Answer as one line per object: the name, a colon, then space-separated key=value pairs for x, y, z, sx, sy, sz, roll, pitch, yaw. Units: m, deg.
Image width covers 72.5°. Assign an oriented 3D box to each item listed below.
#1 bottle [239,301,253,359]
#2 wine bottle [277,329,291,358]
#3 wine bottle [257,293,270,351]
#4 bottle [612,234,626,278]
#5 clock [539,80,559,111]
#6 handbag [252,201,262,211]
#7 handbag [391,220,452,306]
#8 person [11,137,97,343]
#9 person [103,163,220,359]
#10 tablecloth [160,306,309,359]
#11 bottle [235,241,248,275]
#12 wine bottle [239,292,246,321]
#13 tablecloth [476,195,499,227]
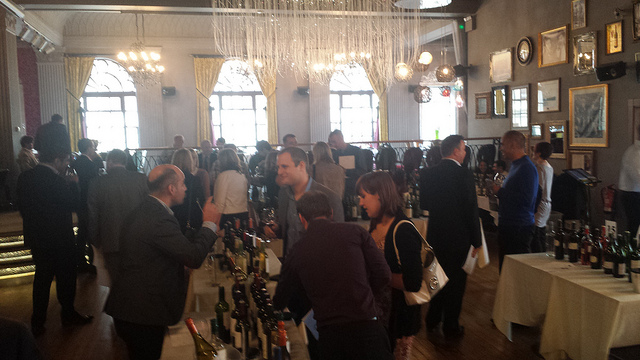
bottle: x=-0.765 y=1.534 z=4.449 sx=0.121 sy=0.558 sz=0.151 roll=-3 pitch=5 yaw=-9
wine bottle: x=-0.367 y=1.624 z=4.355 sx=0.086 sy=0.326 sz=0.153 roll=1 pitch=6 yaw=32
wine bottle: x=-0.602 y=1.452 z=4.467 sx=0.102 sy=0.550 sz=0.163 roll=0 pitch=5 yaw=22
bottle: x=3.647 y=0.930 z=5.315 sx=0.133 sy=0.464 sz=0.239 roll=2 pitch=6 yaw=36
clock: x=4.949 y=-1.817 z=9.438 sx=0.036 sy=0.609 sz=0.464 roll=-4 pitch=5 yaw=-22
handbag: x=-1.247 y=0.501 z=8.628 sx=0.201 sy=0.201 sz=0.049 roll=4 pitch=-37 yaw=4
handbag: x=1.100 y=0.932 z=4.834 sx=0.611 sy=0.989 sz=0.227 roll=-4 pitch=5 yaw=-19
person: x=-3.937 y=0.844 z=6.401 sx=0.831 sy=2.902 sz=0.349 roll=-4 pitch=5 yaw=-20
person: x=-1.762 y=0.907 z=4.751 sx=1.154 sy=2.119 sz=0.405 roll=-4 pitch=5 yaw=-22
tablecloth: x=-0.903 y=1.744 z=4.634 sx=0.865 sy=0.574 sz=1.234 roll=-1 pitch=0 yaw=-5
bottle: x=-0.922 y=0.901 z=5.089 sx=0.131 sy=0.371 sz=0.274 roll=-3 pitch=5 yaw=-17
wine bottle: x=-0.817 y=1.317 z=4.546 sx=0.070 sy=0.224 sz=0.184 roll=-3 pitch=5 yaw=-11
tablecloth: x=3.234 y=0.604 z=8.353 sx=0.268 sy=0.492 sz=0.908 roll=-2 pitch=5 yaw=3
